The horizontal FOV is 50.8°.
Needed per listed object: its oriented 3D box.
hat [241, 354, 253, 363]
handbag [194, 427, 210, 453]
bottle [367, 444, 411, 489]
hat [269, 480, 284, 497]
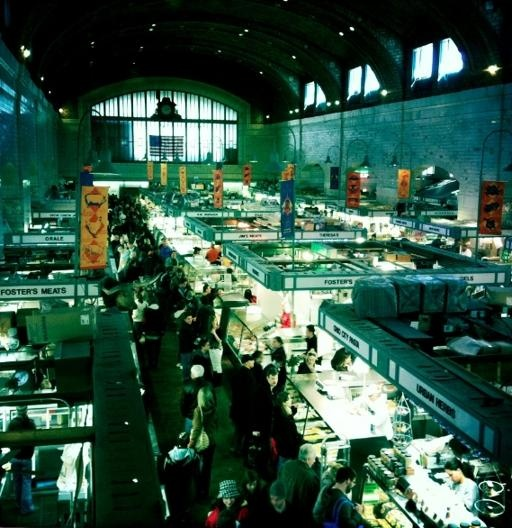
[{"bbox_3d":[-0.094,1.204,6.754,0.122,0.128,0.100,11,1,-12],"label":"hat"},{"bbox_3d":[-0.592,1.882,5.859,0.212,0.226,0.236,-1,22,-11],"label":"handbag"},{"bbox_3d":[1.185,1.818,4.814,0.231,0.092,0.313,-2,8,-2],"label":"bottle"},{"bbox_3d":[0.161,1.681,4.042,0.087,0.112,0.113,2,5,0],"label":"hat"}]
